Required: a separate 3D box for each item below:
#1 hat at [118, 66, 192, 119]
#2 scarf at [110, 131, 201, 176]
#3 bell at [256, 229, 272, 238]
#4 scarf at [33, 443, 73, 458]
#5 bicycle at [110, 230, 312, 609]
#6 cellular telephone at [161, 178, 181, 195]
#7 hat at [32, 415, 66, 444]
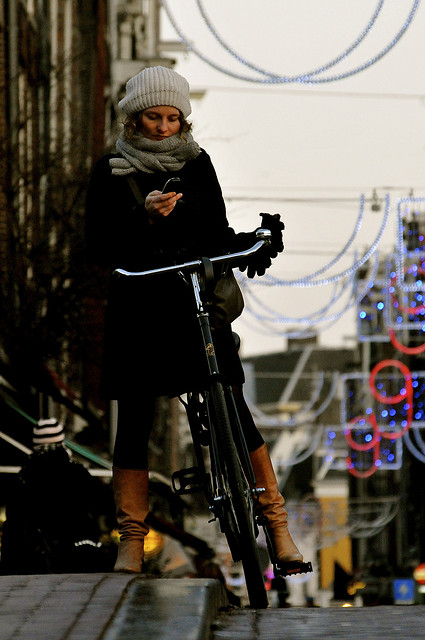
[{"bbox_3d":[-0.214,-1.039,6.056,0.304,0.253,0.323,8,-5,-20],"label":"hat"},{"bbox_3d":[-0.254,-0.743,5.910,0.389,0.214,0.171,-1,-3,-3],"label":"scarf"},{"bbox_3d":[0.226,-0.371,5.749,0.048,0.037,0.045,1,-1,-13],"label":"bell"},{"bbox_3d":[-0.823,0.674,6.902,0.199,0.073,0.327,0,-3,-8],"label":"scarf"},{"bbox_3d":[0.046,0.386,5.618,0.671,1.570,0.715,-1,-3,3],"label":"bicycle"},{"bbox_3d":[-0.176,-0.575,5.721,0.024,0.086,0.091,36,25,33],"label":"cellular telephone"},{"bbox_3d":[-0.850,0.581,6.949,0.152,0.132,0.231,0,-3,-7],"label":"hat"}]
